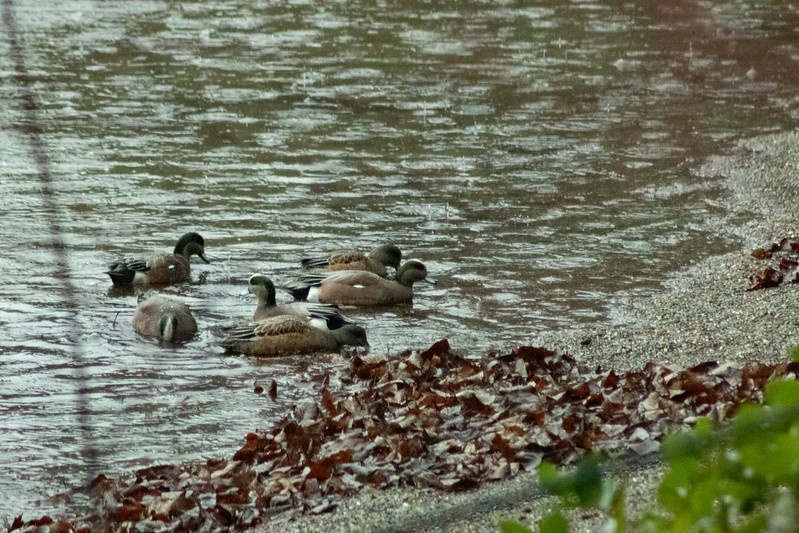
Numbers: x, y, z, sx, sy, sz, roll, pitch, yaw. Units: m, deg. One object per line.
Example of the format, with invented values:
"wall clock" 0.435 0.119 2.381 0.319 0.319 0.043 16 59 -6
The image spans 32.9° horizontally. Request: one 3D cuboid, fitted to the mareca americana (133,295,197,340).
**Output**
"mareca americana" -4.453 0.997 25.695 1.169 0.629 0.763 12 23 32
